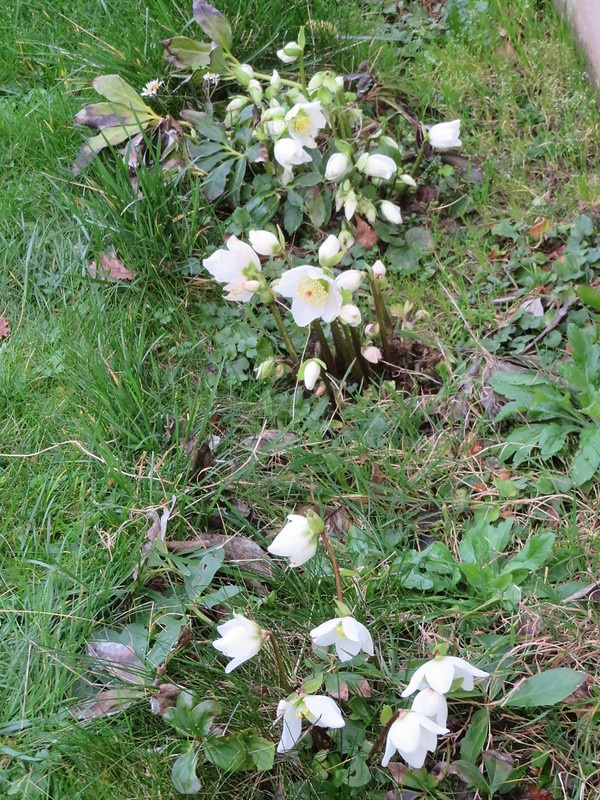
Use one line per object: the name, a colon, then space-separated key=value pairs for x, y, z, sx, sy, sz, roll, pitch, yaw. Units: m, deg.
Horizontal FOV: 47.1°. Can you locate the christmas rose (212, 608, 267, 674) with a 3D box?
christmas rose: x=-0.113 y=0.448 z=1.299 sx=0.069 sy=0.116 sz=0.130 roll=-8 pitch=7 yaw=4
